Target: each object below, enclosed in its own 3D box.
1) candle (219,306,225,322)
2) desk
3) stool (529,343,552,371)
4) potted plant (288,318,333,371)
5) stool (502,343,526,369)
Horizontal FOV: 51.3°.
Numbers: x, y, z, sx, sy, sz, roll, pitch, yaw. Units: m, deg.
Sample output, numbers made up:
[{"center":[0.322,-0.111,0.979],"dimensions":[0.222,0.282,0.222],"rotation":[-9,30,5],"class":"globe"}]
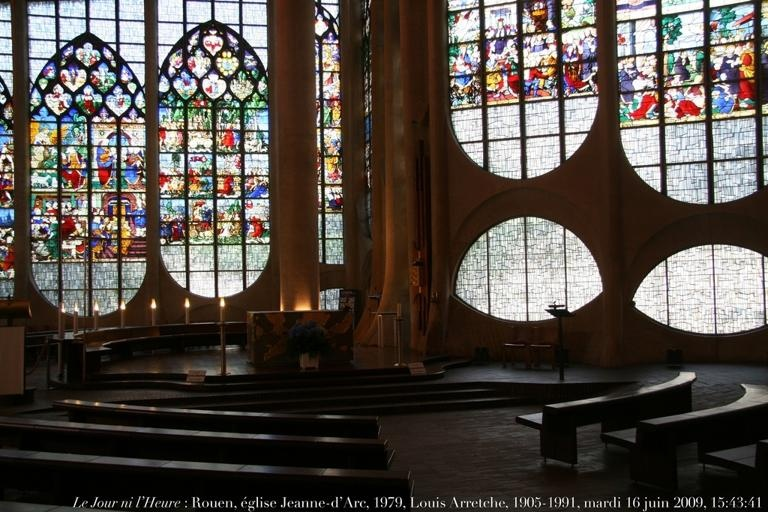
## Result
[{"center":[-3.004,1.080,14.954],"dimensions":[0.077,0.304,0.340],"rotation":[0,-5,-19],"class":"candle"},{"center":[-1.599,1.816,17.898],"dimensions":[2.371,1.184,1.237],"rotation":[-2,-5,10],"class":"desk"},{"center":[3.648,2.288,18.392],"dimensions":[0.579,0.503,0.552],"rotation":[0,-7,-1],"class":"stool"},{"center":[-1.664,1.828,16.752],"dimensions":[1.128,1.089,0.924],"rotation":[1,-6,-12],"class":"potted plant"},{"center":[3.059,2.318,18.728],"dimensions":[0.643,0.572,0.554],"rotation":[-1,-9,4],"class":"stool"}]
